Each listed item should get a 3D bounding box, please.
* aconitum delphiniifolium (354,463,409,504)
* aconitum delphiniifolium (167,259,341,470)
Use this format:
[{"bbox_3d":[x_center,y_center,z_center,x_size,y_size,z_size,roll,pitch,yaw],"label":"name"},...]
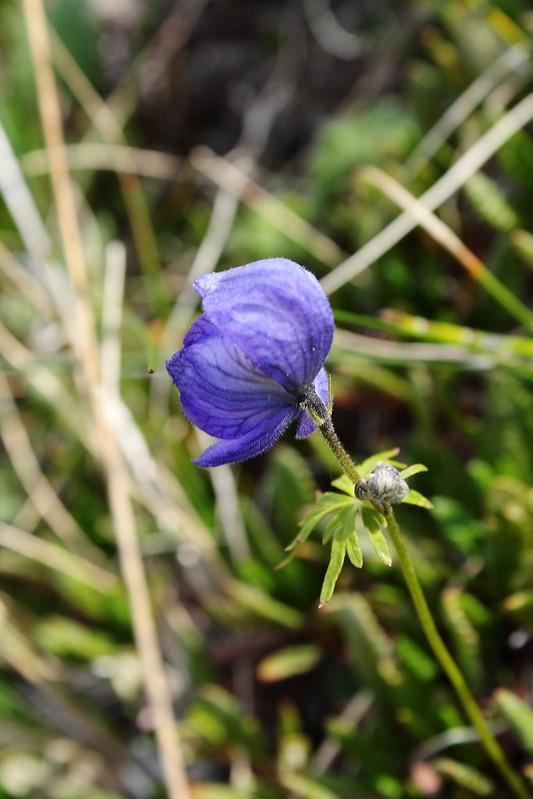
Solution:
[{"bbox_3d":[0.220,0.170,1.463,0.097,0.073,0.045,-21,29,34],"label":"aconitum delphiniifolium"},{"bbox_3d":[-0.004,-0.055,1.463,0.407,0.384,0.338,6,78,-3],"label":"aconitum delphiniifolium"}]
